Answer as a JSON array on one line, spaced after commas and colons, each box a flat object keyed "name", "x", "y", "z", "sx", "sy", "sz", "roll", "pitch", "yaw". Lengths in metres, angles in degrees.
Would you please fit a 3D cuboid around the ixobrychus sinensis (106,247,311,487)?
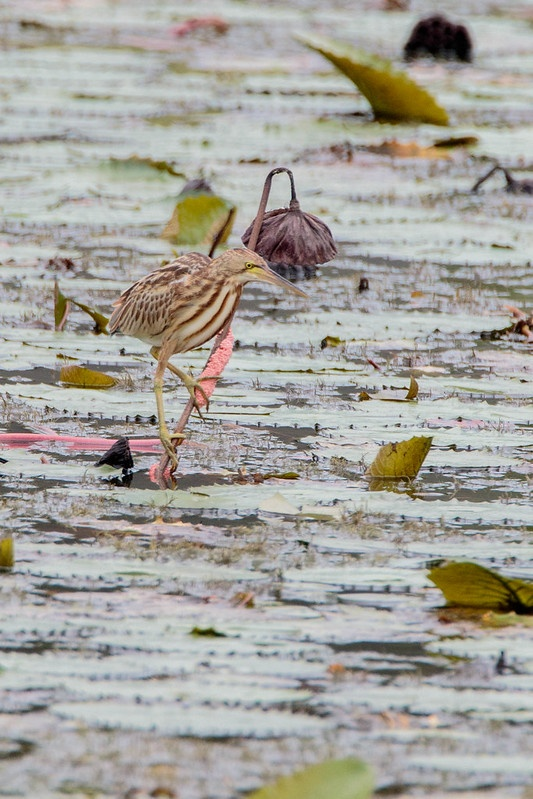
[{"name": "ixobrychus sinensis", "x": -0.329, "y": -0.280, "z": 5.199, "sx": 0.498, "sy": 1.001, "sz": 1.226, "roll": -9, "pitch": 23, "yaw": -38}]
